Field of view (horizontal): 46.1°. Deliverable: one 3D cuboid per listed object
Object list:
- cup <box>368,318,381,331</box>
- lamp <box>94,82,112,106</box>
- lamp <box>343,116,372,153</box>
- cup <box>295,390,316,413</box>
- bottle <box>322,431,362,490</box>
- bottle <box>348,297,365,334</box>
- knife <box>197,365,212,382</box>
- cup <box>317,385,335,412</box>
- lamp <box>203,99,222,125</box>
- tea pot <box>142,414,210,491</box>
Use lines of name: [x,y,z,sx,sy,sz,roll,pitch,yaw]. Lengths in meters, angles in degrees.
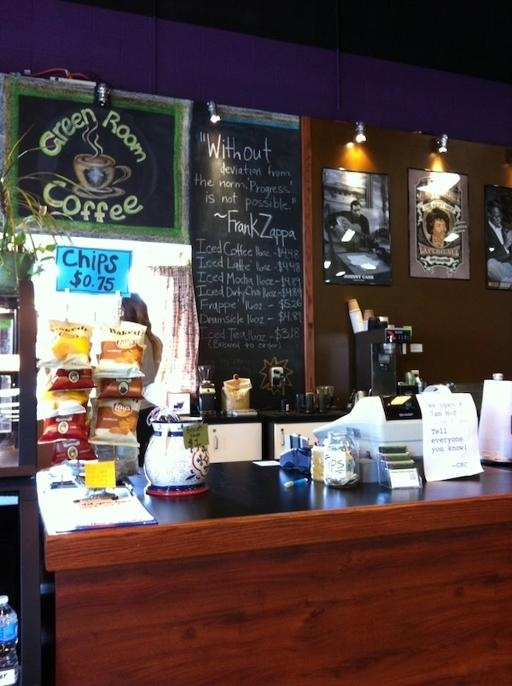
cup: [0.906,-0.155,4.610,0.083,0.096,0.084,0,1,0]
lamp: [-1.088,-1.742,4.224,0.107,0.148,0.048,2,13,6]
lamp: [0.864,-1.715,4.986,0.224,0.214,0.155,-2,2,-42]
cup: [0.369,0.440,4.488,0.137,0.134,0.118,-4,-2,8]
bottle: [0.243,0.353,1.857,0.131,0.221,0.151,2,-5,-11]
bottle: [0.803,-0.227,4.817,0.136,0.288,0.291,-1,1,8]
knife: [-0.368,0.215,4.346,0.105,0.112,0.110,-9,-17,37]
cup: [0.505,0.393,4.481,0.159,0.186,0.158,0,-8,0]
lamp: [-0.322,-1.725,4.539,0.107,0.165,0.091,-15,-7,-7]
tea pot: [-0.221,0.310,1.663,0.165,0.205,0.208,-2,1,17]
